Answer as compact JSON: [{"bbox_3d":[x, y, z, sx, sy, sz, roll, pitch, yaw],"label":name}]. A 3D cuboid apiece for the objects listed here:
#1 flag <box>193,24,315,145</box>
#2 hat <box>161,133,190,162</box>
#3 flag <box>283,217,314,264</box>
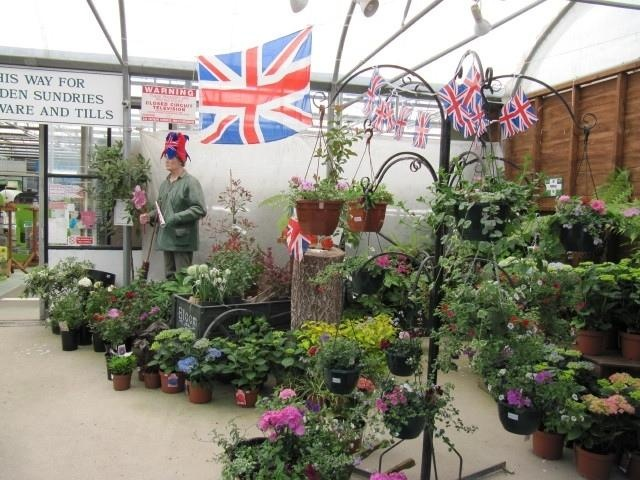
[{"bbox_3d":[-0.835,-1.966,5.993,1.597,1.522,0.119,-2,8,3],"label":"flag"},{"bbox_3d":[-1.914,-1.253,6.387,0.360,0.375,0.353,12,18,18],"label":"hat"},{"bbox_3d":[-0.203,-0.001,4.627,0.073,0.289,0.622,-19,-9,-18],"label":"flag"}]
